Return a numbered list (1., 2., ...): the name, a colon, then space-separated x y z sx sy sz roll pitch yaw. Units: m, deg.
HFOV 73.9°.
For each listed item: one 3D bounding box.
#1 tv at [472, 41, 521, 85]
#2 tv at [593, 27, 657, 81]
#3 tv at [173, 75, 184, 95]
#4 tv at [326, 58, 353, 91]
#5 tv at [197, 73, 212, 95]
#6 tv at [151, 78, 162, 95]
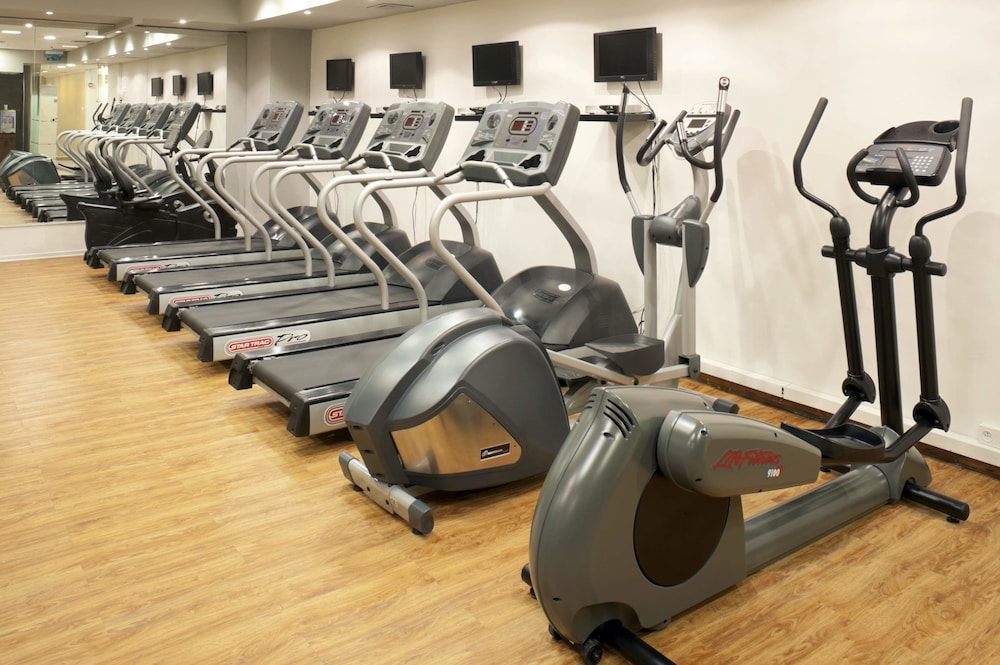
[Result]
1. tv: -0.072 -2.446 6.052 0.060 0.364 0.637 23 35 34
2. tv: 0.920 -2.057 4.938 0.059 0.342 0.585 -24 30 -34
3. tv: -4.492 -3.427 9.246 0.198 0.255 0.082 -10 24 -20
4. tv: -1.962 -3.149 8.096 0.474 0.361 0.158 7 7 42
5. tv: -4.109 -3.448 9.178 0.302 0.273 0.096 6 10 32
6. tv: -4.743 -3.372 9.135 0.179 0.251 0.100 -10 24 -19
